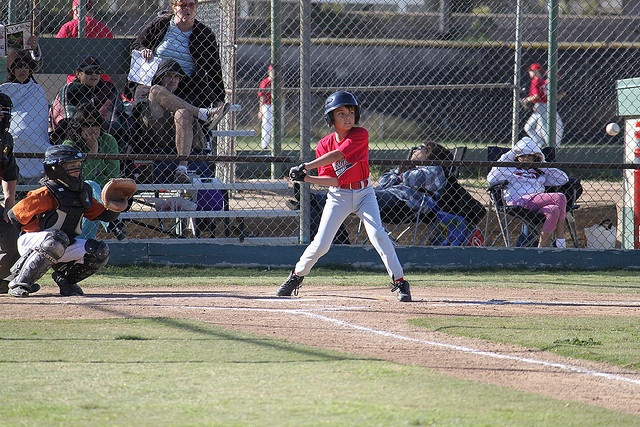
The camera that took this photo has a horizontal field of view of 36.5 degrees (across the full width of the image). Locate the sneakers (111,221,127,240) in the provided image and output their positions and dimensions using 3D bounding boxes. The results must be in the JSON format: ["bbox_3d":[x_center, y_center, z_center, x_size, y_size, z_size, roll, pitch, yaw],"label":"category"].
[{"bbox_3d":[-2.230,0.186,10.674,0.130,0.204,0.089,-27,9,47],"label":"sneakers"}]

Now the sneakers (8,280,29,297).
[{"bbox_3d":[-2.651,0.663,8.498,0.222,0.091,0.093,-1,-4,35],"label":"sneakers"}]

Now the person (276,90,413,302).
[{"bbox_3d":[0.232,-0.156,8.719,1.179,1.848,0.438,2,10,3],"label":"person"}]

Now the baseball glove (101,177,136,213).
[{"bbox_3d":[-1.843,-0.201,8.764,0.280,0.328,0.138,17,7,-28],"label":"baseball glove"}]

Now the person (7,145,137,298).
[{"bbox_3d":[-2.344,0.061,8.626,0.863,1.316,0.378,-2,11,-16],"label":"person"}]

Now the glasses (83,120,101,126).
[{"bbox_3d":[-2.389,-0.947,10.240,0.116,0.063,0.261,5,10,20],"label":"glasses"}]

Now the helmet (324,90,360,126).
[{"bbox_3d":[0.204,-0.935,8.747,0.308,0.323,0.293,2,10,1],"label":"helmet"}]

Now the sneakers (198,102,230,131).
[{"bbox_3d":[-1.238,-1.090,10.920,0.222,0.177,0.542,31,-22,-15],"label":"sneakers"}]

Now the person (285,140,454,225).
[{"bbox_3d":[0.615,-0.195,11.280,2.138,0.782,1.077,-4,-23,4],"label":"person"}]

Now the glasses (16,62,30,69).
[{"bbox_3d":[-3.238,-1.616,10.540,0.085,0.039,0.099,6,11,-42],"label":"glasses"}]

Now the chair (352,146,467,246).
[{"bbox_3d":[1.000,-0.269,11.256,1.099,0.954,0.768,-14,8,-15],"label":"chair"}]

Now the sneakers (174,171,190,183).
[{"bbox_3d":[-1.528,-0.403,10.744,0.128,0.115,0.117,12,-10,-39],"label":"sneakers"}]

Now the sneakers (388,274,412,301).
[{"bbox_3d":[0.726,0.679,8.838,0.256,0.243,0.655,-2,-1,1],"label":"sneakers"}]

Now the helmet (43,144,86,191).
[{"bbox_3d":[-2.269,-0.396,8.565,0.434,0.363,0.360,3,7,4],"label":"helmet"}]

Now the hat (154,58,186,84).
[{"bbox_3d":[-1.714,-1.565,10.754,0.349,0.181,0.241,-10,0,24],"label":"hat"}]

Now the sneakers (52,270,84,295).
[{"bbox_3d":[-2.295,0.643,8.724,0.245,0.094,0.198,40,7,12],"label":"sneakers"}]

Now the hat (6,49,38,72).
[{"bbox_3d":[-3.272,-1.664,10.596,0.249,0.190,0.302,-4,11,-22],"label":"hat"}]

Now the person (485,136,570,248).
[{"bbox_3d":[2.399,-0.243,11.122,0.893,1.193,0.688,4,10,13],"label":"person"}]

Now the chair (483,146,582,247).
[{"bbox_3d":[2.458,-0.244,11.296,1.039,1.267,0.640,-1,0,19],"label":"chair"}]

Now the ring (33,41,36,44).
[{"bbox_3d":[-3.059,-1.824,10.343,0.031,0.025,0.007,-3,21,-29],"label":"ring"}]
